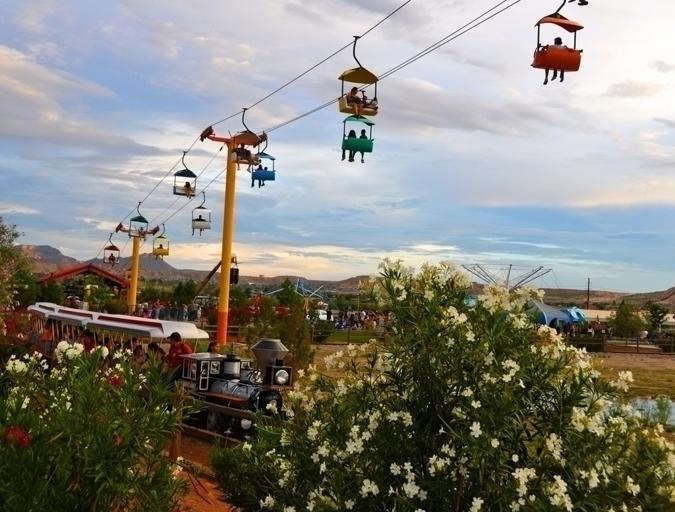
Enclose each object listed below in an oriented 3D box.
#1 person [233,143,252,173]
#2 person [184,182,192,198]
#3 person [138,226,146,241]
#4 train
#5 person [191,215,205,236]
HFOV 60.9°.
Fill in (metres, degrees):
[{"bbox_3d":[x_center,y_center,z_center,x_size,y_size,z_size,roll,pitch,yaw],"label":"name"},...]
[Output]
[{"bbox_3d":[-3.397,-3.580,20.614,0.791,0.905,0.703,2,-3,2],"label":"person"},{"bbox_3d":[-7.617,-3.385,29.367,0.421,0.884,1.146,3,-3,-16],"label":"person"},{"bbox_3d":[-14.657,-1.688,43.131,0.617,0.816,1.699,3,-3,-18],"label":"person"},{"bbox_3d":[-5.875,3.058,17.106,10.253,2.109,1.523,4,-9,28],"label":"train"},{"bbox_3d":[-6.990,-1.625,29.050,0.595,0.759,0.827,3,-3,-21],"label":"person"}]
